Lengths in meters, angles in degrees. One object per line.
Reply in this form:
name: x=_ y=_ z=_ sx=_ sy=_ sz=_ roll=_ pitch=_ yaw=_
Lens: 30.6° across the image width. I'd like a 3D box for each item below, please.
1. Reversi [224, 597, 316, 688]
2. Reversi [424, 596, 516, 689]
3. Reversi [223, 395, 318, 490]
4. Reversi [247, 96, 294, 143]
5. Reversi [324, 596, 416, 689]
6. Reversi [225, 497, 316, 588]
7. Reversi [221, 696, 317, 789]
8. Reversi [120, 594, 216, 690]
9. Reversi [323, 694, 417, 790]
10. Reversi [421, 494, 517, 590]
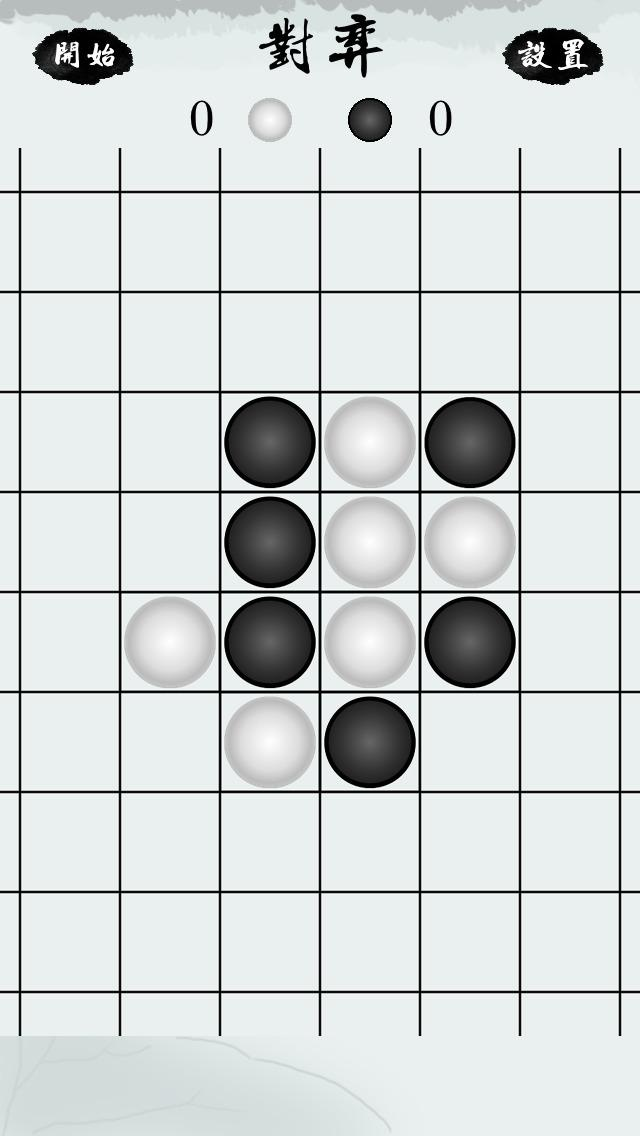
Reversi: x=-0.082 y=0.130 z=2.044 sx=0.166 sy=0.194 sz=0.039 roll=-1 pitch=-37 yaw=-11
Reversi: x=0.263 y=0.128 z=2.029 sx=0.130 sy=0.158 sz=0.033 roll=0 pitch=-2 yaw=3
Reversi: x=-0.090 y=-0.222 z=2.073 sx=0.163 sy=0.151 sz=0.117 roll=-1 pitch=-24 yaw=-1
Reversi: x=-0.087 y=-0.791 z=2.079 sx=0.064 sy=0.078 sz=0.015 roll=0 pitch=6 yaw=-4
Reversi: x=0.088 y=0.127 z=2.012 sx=0.131 sy=0.160 sz=0.031 roll=1 pitch=-5 yaw=0
Reversi: x=-0.086 y=-0.048 z=2.063 sx=0.154 sy=0.153 sz=0.112 roll=7 pitch=-25 yaw=-17
Reversi: x=-0.088 y=0.302 z=2.024 sx=0.132 sy=0.162 sz=0.031 roll=1 pitch=-6 yaw=-4
Reversi: x=-0.262 y=0.128 z=2.040 sx=0.134 sy=0.165 sz=0.032 roll=1 pitch=-6 yaw=-6
Reversi: x=0.087 y=0.312 z=2.045 sx=0.135 sy=0.164 sz=0.035 roll=-1 pitch=-2 yaw=3
Reversi: x=0.264 y=-0.046 z=2.074 sx=0.157 sy=0.151 sz=0.127 roll=-5 pitch=-24 yaw=7
